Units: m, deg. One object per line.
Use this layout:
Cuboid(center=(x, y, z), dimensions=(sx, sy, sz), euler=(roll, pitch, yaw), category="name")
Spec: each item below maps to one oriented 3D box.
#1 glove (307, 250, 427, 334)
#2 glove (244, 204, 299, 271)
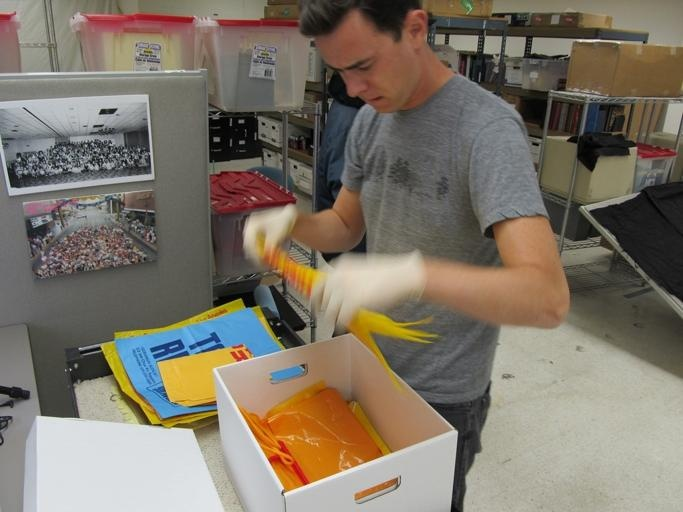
Cuboid(center=(0.067, 0.062, 1.085), dimensions=(0.237, 0.100, 0.170), euler=(-19, 12, -10), category="glove")
Cuboid(center=(-0.254, -0.065, 1.463), dimensions=(0.207, 0.200, 0.143), euler=(-2, 13, -27), category="glove")
